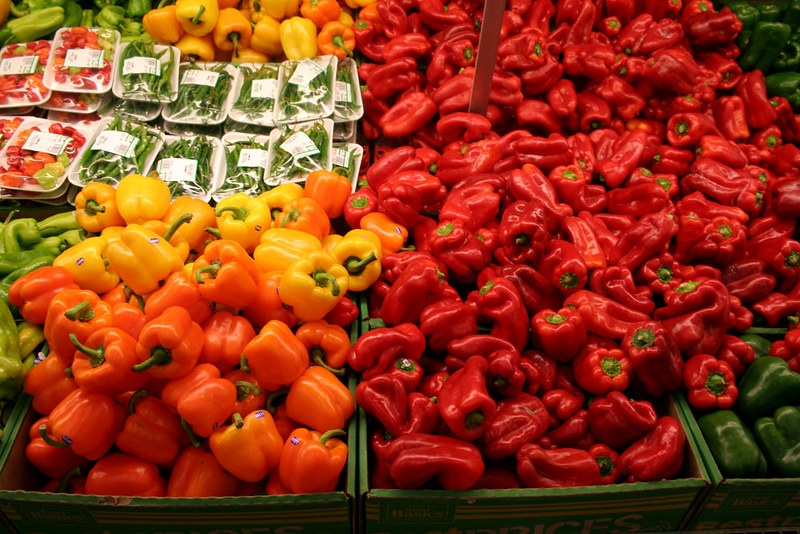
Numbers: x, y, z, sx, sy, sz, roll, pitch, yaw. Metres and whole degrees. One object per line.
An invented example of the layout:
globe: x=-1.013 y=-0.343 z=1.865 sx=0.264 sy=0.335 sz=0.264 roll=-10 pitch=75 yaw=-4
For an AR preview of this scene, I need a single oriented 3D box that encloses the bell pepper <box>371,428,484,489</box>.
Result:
bell pepper: x=0.216 y=1.503 z=4.554 sx=0.724 sy=0.408 sz=0.319 roll=14 pitch=3 yaw=17
